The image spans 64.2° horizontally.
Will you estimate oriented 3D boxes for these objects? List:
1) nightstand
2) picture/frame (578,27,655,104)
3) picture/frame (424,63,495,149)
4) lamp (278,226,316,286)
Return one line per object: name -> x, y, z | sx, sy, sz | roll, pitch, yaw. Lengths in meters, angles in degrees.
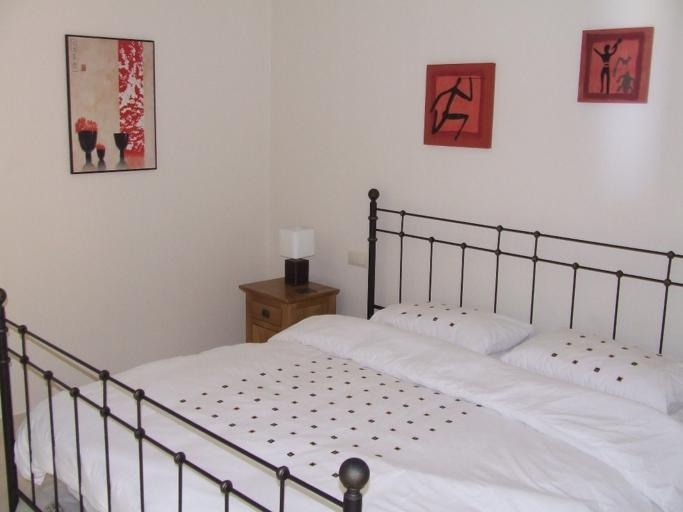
nightstand -> -0.404, 0.566, 4.044 | 0.501, 0.704, 0.572 | -7, 14, -39
picture/frame -> 1.415, -0.977, 2.768 | 0.035, 0.374, 0.344 | -11, 23, -44
picture/frame -> 0.739, -0.927, 3.318 | 0.449, 0.512, 0.049 | 15, 20, 42
lamp -> -0.328, 0.004, 3.998 | 0.291, 0.404, 0.305 | 1, 13, -10
